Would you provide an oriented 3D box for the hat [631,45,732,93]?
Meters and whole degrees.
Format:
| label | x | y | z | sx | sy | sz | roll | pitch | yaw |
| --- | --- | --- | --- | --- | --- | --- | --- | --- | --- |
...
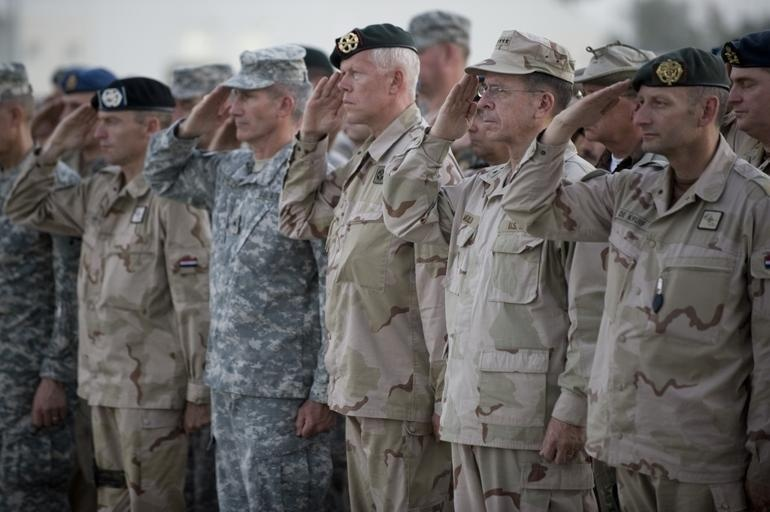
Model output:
| label | x | y | z | sx | sy | sz | roll | pitch | yaw |
| --- | --- | --- | --- | --- | --- | --- | --- | --- | --- |
| hat | 1.559 | -0.969 | 6.223 | 0.336 | 0.137 | 0.257 | 2 | 1 | -4 |
